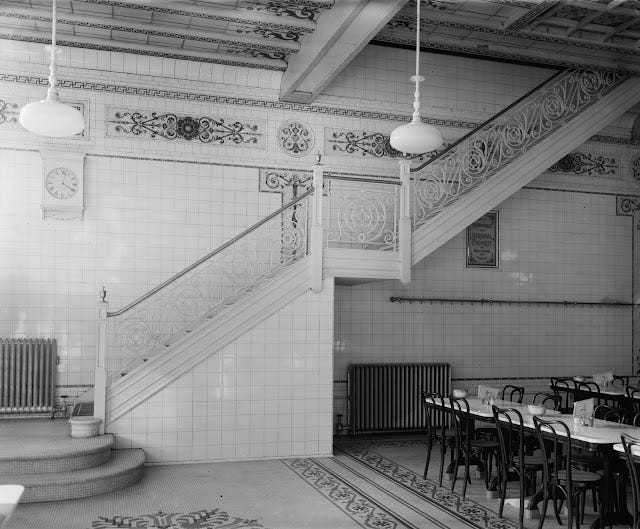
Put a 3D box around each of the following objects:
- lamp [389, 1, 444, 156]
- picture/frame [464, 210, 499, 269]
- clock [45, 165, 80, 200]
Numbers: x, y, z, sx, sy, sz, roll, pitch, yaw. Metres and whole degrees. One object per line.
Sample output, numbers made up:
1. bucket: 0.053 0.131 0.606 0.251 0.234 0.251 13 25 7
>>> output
1. lamp: 1.229 -2.080 9.803 0.701 2.710 0.689 2 -6 -13
2. picture/frame: 2.774 -0.423 13.914 0.613 0.989 0.049 1 -2 -16
3. clock: -3.794 -1.200 11.944 0.567 0.520 0.037 1 -4 -17
